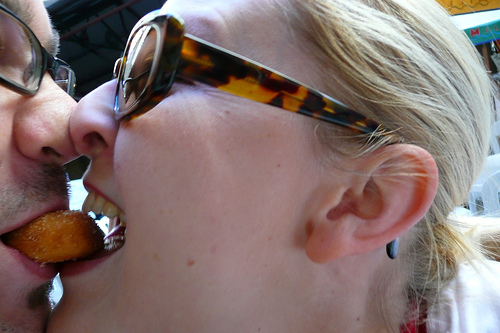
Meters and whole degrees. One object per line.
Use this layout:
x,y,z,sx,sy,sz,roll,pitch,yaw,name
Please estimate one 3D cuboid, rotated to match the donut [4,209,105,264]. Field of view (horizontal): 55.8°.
-0.845,0.271,2.196,0.342,0.465,0.210,-6,101,-40,donut
